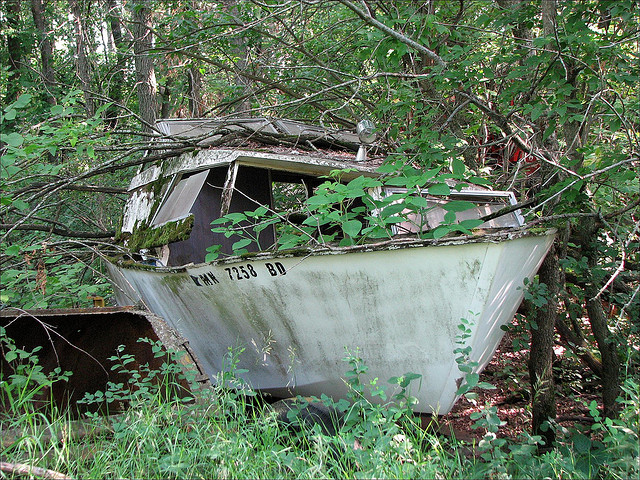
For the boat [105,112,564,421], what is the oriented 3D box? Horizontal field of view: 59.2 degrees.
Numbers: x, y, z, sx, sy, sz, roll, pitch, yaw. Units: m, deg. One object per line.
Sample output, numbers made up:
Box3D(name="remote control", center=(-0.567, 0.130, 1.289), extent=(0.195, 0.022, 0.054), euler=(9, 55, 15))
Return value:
Box3D(name="boat", center=(-0.829, 0.073, 7.201), extent=(3.470, 2.191, 6.235), euler=(1, -2, -42))
